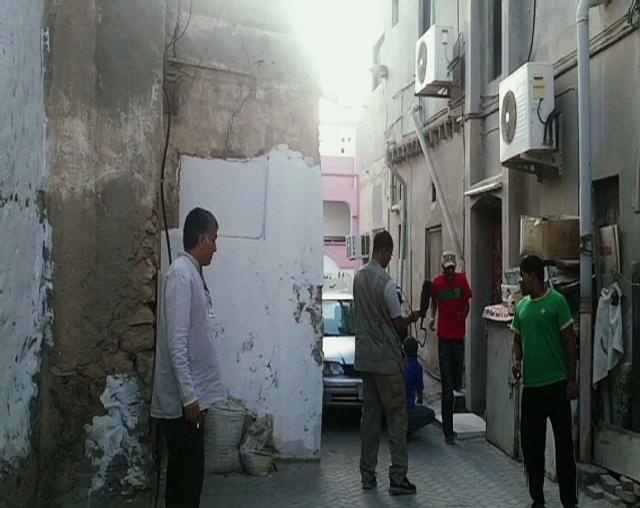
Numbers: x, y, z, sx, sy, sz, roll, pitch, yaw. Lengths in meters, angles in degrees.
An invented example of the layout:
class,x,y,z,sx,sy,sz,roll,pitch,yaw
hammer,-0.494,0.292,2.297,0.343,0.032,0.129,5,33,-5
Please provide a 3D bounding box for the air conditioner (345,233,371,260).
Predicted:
class,x,y,z,sx,sy,sz,roll,pitch,yaw
air conditioner,0.979,-0.021,17.649,0.408,0.926,0.868,0,-2,-13

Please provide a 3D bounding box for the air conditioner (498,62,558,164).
class,x,y,z,sx,sy,sz,roll,pitch,yaw
air conditioner,2.427,-1.652,8.502,0.290,1.013,0.913,-1,-3,-13

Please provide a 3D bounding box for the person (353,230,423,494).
class,x,y,z,sx,sy,sz,roll,pitch,yaw
person,0.606,1.006,6.807,0.657,2.501,0.441,0,0,19

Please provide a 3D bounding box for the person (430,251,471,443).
class,x,y,z,sx,sy,sz,roll,pitch,yaw
person,1.572,1.094,8.733,0.502,2.356,0.746,0,0,25

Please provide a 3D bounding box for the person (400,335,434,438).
class,x,y,z,sx,sy,sz,roll,pitch,yaw
person,1.155,1.550,8.752,0.528,1.090,0.556,2,7,-2

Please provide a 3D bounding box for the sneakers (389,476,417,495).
class,x,y,z,sx,sy,sz,roll,pitch,yaw
sneakers,0.768,2.168,6.655,0.246,0.230,0.123,-1,2,-23

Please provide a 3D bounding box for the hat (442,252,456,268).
class,x,y,z,sx,sy,sz,roll,pitch,yaw
hat,1.615,0.074,8.892,0.177,0.179,0.337,3,-1,5

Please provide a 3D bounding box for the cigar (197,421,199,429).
class,x,y,z,sx,sy,sz,roll,pitch,yaw
cigar,-0.893,1.241,5.160,0.012,0.053,0.032,1,11,-2

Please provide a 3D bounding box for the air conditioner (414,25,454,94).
class,x,y,z,sx,sy,sz,roll,pitch,yaw
air conditioner,1.856,-3.051,11.300,0.476,1.112,0.945,0,0,-3

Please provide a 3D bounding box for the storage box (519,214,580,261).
class,x,y,z,sx,sy,sz,roll,pitch,yaw
storage box,2.392,-0.179,7.406,0.399,0.420,0.471,-1,4,-5
